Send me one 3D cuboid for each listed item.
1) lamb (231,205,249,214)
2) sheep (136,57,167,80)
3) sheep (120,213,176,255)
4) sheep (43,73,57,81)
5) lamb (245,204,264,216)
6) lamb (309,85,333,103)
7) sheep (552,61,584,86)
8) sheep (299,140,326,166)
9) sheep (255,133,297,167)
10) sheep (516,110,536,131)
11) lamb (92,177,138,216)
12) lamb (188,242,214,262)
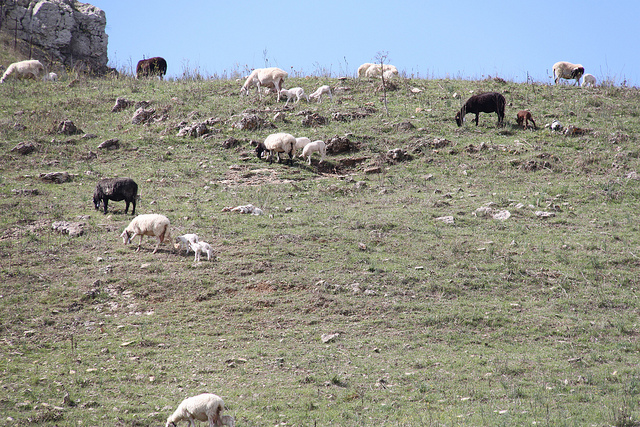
[{"bbox_3d":[-3.052,-0.145,43.793,0.450,0.169,0.341,10,9,13],"label":"lamb"},{"bbox_3d":[-9.056,-7.863,60.959,1.486,1.436,2.615,1,-3,-9],"label":"sheep"},{"bbox_3d":[-6.285,0.775,41.614,1.827,1.458,0.645,-1,-3,23],"label":"sheep"},{"bbox_3d":[-13.317,-6.793,55.834,0.607,0.501,0.745,1,-3,-12],"label":"sheep"},{"bbox_3d":[-2.519,-0.133,43.751,0.729,0.434,0.405,1,-3,-5],"label":"lamb"},{"bbox_3d":[0.098,-5.564,52.800,1.114,0.859,0.938,1,-3,-10],"label":"lamb"},{"bbox_3d":[12.788,-7.154,58.106,2.525,1.242,0.595,-4,-5,-33],"label":"sheep"},{"bbox_3d":[-0.280,-2.545,47.483,0.948,1.047,0.769,0,-3,9],"label":"sheep"},{"bbox_3d":[-1.850,-2.729,47.804,2.015,1.289,0.574,2,8,35],"label":"sheep"},{"bbox_3d":[9.098,-4.111,49.606,0.718,0.848,0.903,1,-3,-13],"label":"sheep"},{"bbox_3d":[-7.915,-0.661,44.011,2.034,1.393,0.887,-2,-2,23],"label":"lamb"},{"bbox_3d":[-4.362,1.380,41.087,0.958,0.667,0.373,-1,-4,34],"label":"lamb"}]
